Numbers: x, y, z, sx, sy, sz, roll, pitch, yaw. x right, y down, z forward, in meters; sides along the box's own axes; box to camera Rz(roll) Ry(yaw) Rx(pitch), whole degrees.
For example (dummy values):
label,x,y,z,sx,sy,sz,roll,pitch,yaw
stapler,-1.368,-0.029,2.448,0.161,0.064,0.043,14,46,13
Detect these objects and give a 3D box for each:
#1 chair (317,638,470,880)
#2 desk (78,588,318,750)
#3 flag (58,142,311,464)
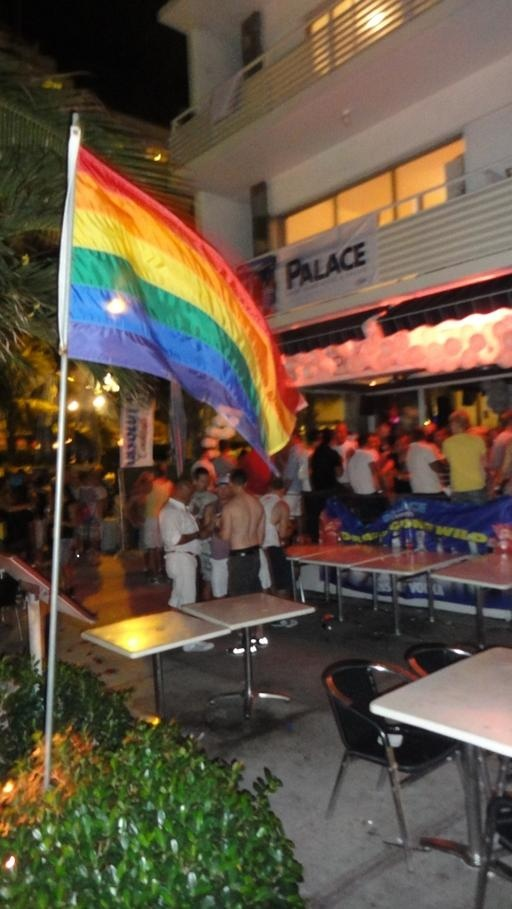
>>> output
label,x,y,z,sx,sy,sz,roll,pitch,yaw
chair,0.658,1.523,3.543,0.826,1.134,0.923,-12,-12,42
desk,-0.403,1.634,4.745,1.730,0.886,0.948,1,-4,-42
flag,-0.291,-0.595,3.090,0.289,1.198,1.580,-3,-3,29
